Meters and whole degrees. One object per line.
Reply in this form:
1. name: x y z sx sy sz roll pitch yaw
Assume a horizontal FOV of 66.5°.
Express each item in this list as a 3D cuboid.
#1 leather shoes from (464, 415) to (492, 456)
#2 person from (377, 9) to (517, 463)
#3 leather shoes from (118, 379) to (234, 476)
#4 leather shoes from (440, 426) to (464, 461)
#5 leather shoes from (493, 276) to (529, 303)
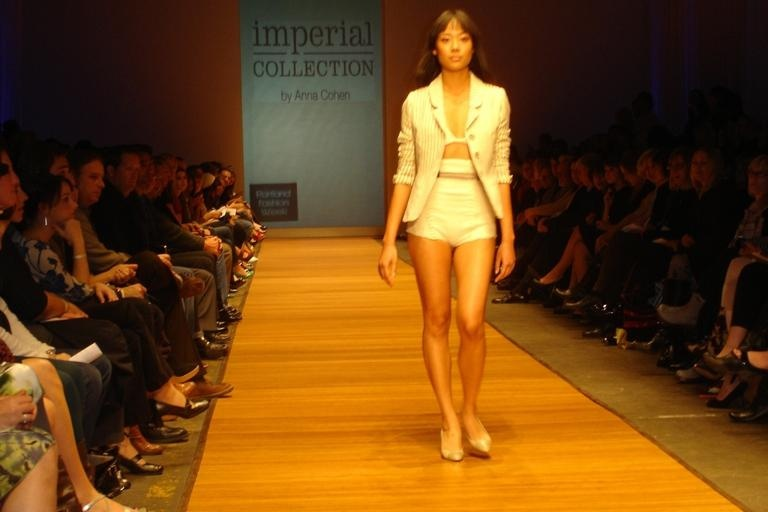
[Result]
1. leather shoes: 0.462 0.883 2.919 0.095 0.228 0.052 -26 -9 13
2. person: 0.307 -0.104 2.902 0.642 2.175 0.444 1 8 12
3. leather shoes: -1.117 0.908 3.185 0.473 0.227 0.155 -16 10 -33
4. leather shoes: 0.328 0.925 2.852 0.061 0.092 0.194 -1 2 -5
5. leather shoes: 1.324 0.413 6.483 0.488 0.229 0.173 0 -2 -1
